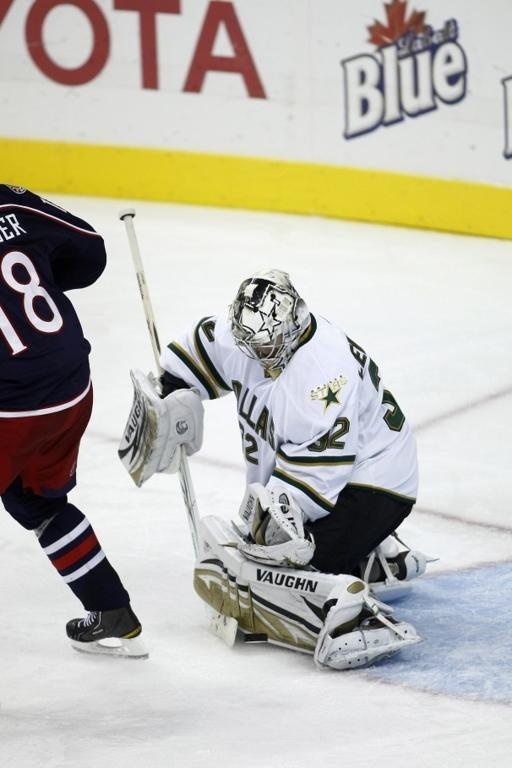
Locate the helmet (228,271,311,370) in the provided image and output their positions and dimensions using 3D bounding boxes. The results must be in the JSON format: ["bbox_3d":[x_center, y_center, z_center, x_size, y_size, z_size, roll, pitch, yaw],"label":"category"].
[{"bbox_3d":[0.038,-0.133,1.829,0.163,0.197,0.210,13,4,26],"label":"helmet"}]
